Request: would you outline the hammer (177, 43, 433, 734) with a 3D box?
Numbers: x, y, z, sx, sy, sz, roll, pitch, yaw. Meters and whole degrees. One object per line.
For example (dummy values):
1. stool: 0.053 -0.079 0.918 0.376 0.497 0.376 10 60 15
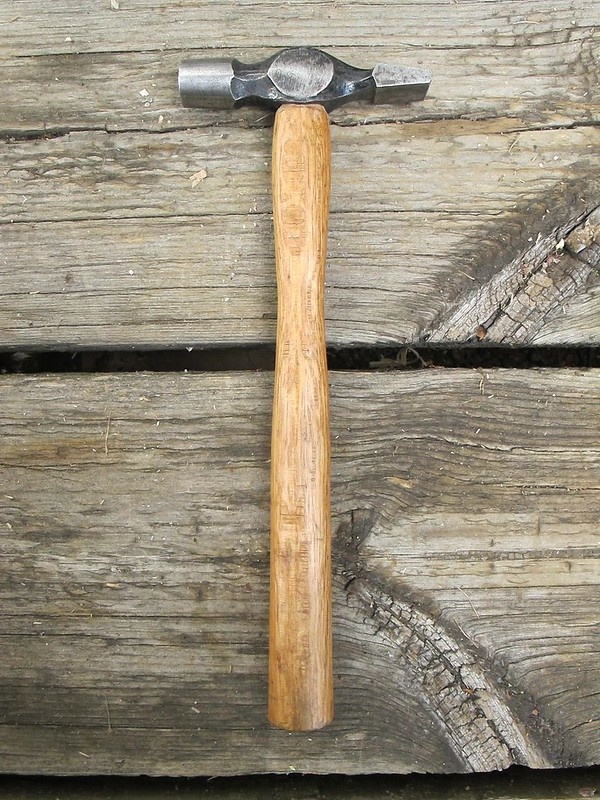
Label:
1. hammer: 0.014 0.017 2.842 0.707 0.187 1.568 -1 -89 -4
